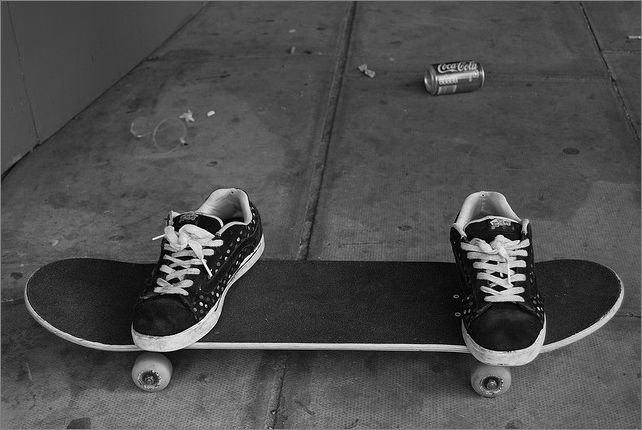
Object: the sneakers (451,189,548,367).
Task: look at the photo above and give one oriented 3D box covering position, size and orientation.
[{"bbox_3d":[0.645,0.219,2.111,0.287,0.257,0.641,-4,42,15],"label":"sneakers"}]
